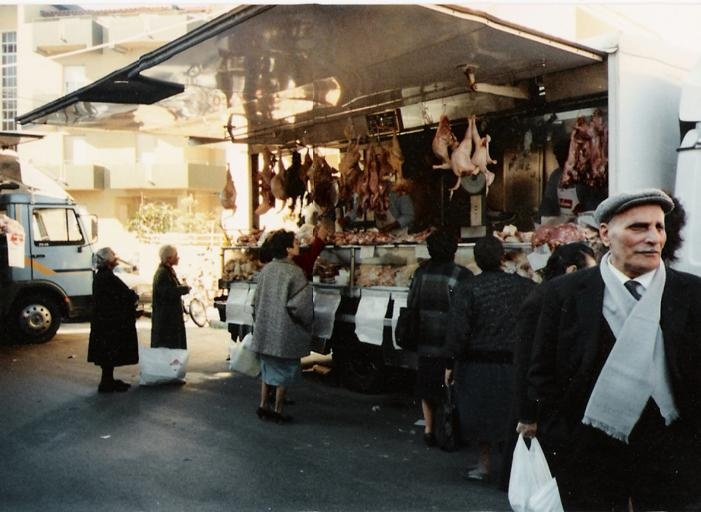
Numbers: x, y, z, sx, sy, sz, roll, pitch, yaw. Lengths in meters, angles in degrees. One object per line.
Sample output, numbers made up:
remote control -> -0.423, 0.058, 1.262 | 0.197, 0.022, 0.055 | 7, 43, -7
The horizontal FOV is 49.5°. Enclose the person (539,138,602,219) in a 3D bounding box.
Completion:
person -> 2.601, -0.938, 9.008 | 0.420, 0.881, 0.597 | -7, 9, -41

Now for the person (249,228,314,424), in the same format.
person -> -0.825, 0.827, 9.280 | 0.910, 2.150, 0.820 | 0, 1, -6

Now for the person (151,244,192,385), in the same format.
person -> -2.640, 0.651, 10.900 | 0.544, 1.554, 0.516 | 0, 9, -26

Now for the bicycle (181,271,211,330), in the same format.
bicycle -> -3.448, 1.044, 17.700 | 1.029, 1.049, 1.689 | -4, -4, -14

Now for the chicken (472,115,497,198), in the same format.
chicken -> 1.589, -1.246, 9.045 | 0.363, 0.802, 0.363 | -6, 26, 2
